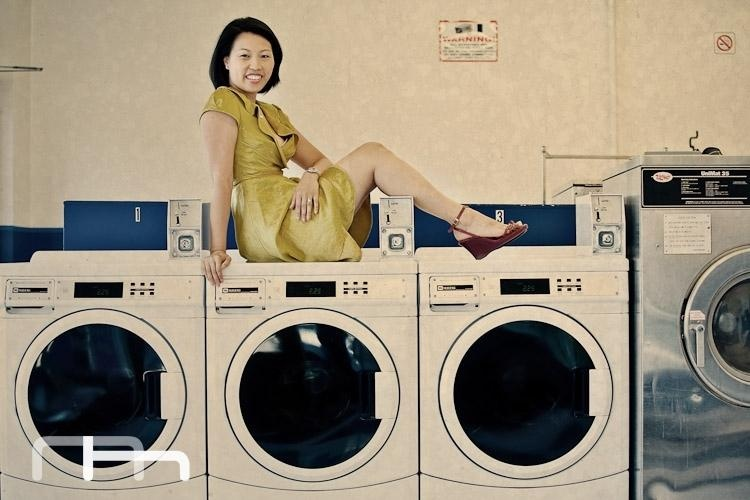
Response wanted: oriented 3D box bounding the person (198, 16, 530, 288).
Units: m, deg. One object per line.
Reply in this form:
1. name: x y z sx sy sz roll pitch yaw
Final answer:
1. person: -0.081 -0.699 7.491 2.153 1.576 0.898 0 12 2
